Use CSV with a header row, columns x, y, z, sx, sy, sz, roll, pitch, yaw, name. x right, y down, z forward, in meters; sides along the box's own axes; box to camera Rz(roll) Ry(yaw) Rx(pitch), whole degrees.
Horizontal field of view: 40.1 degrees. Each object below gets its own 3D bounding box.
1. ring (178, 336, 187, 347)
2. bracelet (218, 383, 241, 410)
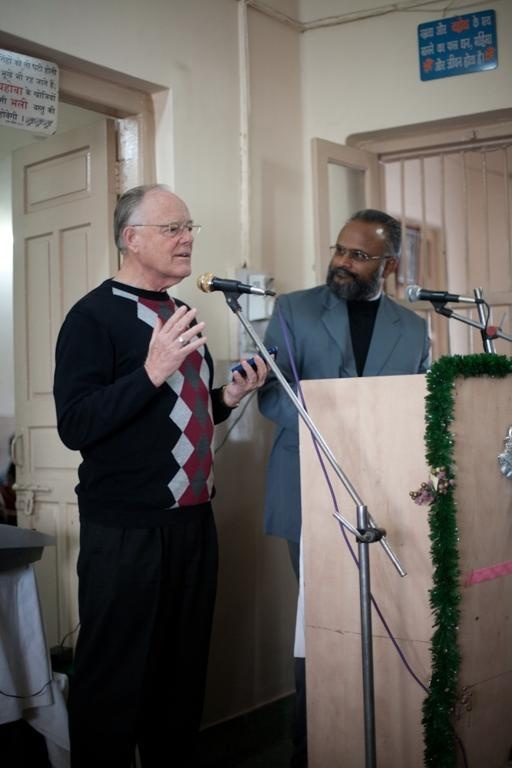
x,y,z,sx,sy,sz,roll,pitch,yaw,name
-0.150,-0.090,1.411,0.016,0.022,0.008,-1,-25,-41,ring
-0.074,0.029,1.830,0.058,0.063,0.063,-3,-13,-2,bracelet
